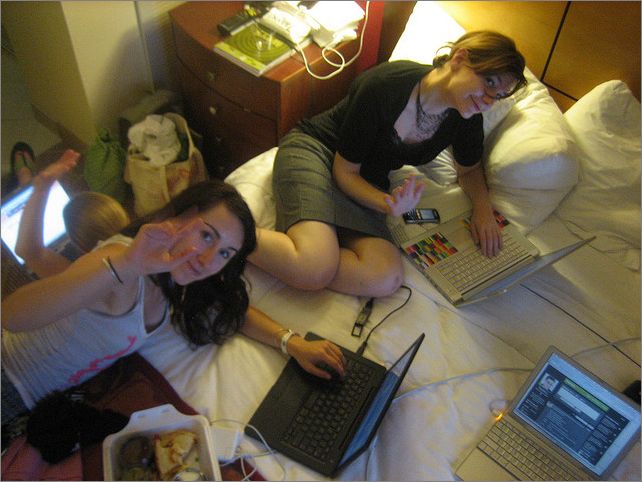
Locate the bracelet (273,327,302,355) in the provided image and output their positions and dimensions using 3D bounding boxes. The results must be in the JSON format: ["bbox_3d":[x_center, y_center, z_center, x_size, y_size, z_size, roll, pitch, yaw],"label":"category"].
[{"bbox_3d":[-0.142,0.384,1.978,0.066,0.113,0.115,20,64,26],"label":"bracelet"}]

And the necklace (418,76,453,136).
[{"bbox_3d":[0.469,-0.589,2.243,0.137,0.149,0.212,5,57,-19],"label":"necklace"}]

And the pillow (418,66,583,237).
[{"bbox_3d":[0.894,-0.402,2.596,0.705,0.212,0.696,-38,93,-8],"label":"pillow"}]

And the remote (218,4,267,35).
[{"bbox_3d":[-0.391,-1.106,2.538,0.076,0.060,0.241,38,68,18],"label":"remote"}]

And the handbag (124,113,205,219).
[{"bbox_3d":[-0.774,-0.370,2.458,0.386,0.419,0.289,-29,63,-22],"label":"handbag"}]

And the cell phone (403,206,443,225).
[{"bbox_3d":[0.460,-0.114,2.286,0.130,0.029,0.082,4,54,-1],"label":"cell phone"}]

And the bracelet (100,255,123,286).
[{"bbox_3d":[-0.618,0.089,1.484,0.071,0.066,0.023,37,52,24],"label":"bracelet"}]

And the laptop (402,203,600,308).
[{"bbox_3d":[0.651,-0.003,1.996,0.475,0.307,0.460,-30,72,-20],"label":"laptop"}]

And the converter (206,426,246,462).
[{"bbox_3d":[-0.326,0.683,1.688,0.105,0.056,0.093,8,48,-2],"label":"converter"}]
